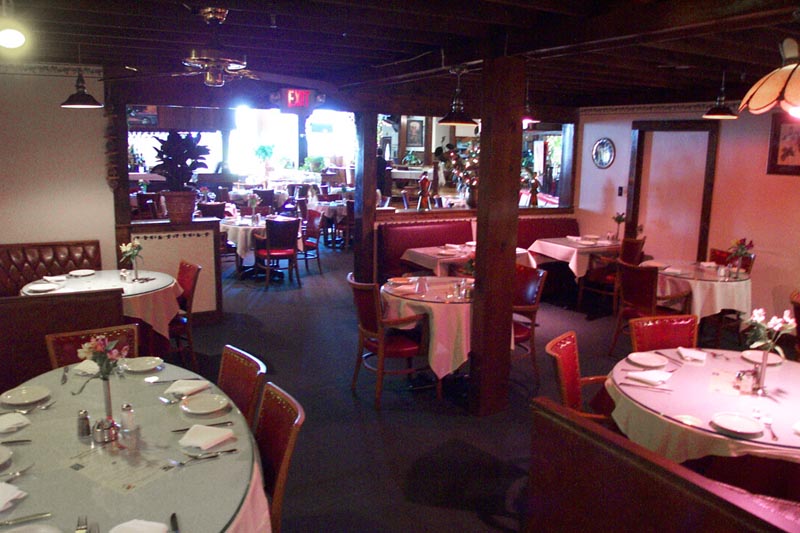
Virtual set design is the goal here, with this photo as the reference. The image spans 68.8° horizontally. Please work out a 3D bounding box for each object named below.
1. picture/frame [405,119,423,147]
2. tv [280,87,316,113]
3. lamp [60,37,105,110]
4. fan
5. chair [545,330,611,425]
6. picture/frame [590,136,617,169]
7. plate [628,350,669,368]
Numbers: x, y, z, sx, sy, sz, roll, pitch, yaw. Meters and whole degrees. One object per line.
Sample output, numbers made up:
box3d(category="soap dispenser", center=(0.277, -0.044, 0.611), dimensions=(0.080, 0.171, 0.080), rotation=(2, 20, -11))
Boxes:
box3d(category="picture/frame", center=(0.527, -4.571, 20.056), dimensions=(0.689, 0.943, 0.275), rotation=(-8, 13, -31))
box3d(category="tv", center=(-1.412, -2.305, 8.084), dimensions=(0.354, 0.354, 0.221), rotation=(2, -1, -6))
box3d(category="lamp", center=(-3.646, -2.219, 6.650), dimensions=(0.487, 0.789, 0.493), rotation=(13, 20, 27))
box3d(category="fan", center=(-1.727, -2.005, 5.705), dimensions=(1.394, 0.497, 1.397), rotation=(4, 20, 5))
box3d(category="chair", center=(1.579, 0.995, 5.140), dimensions=(0.558, 0.809, 0.660), rotation=(4, 24, 35))
box3d(category="picture/frame", center=(3.416, -1.896, 9.754), dimensions=(0.438, 0.434, 0.442), rotation=(8, 11, 20))
box3d(category="plate", center=(1.924, 0.723, 4.496), dimensions=(0.160, 0.022, 0.157), rotation=(-1, 21, 5))
